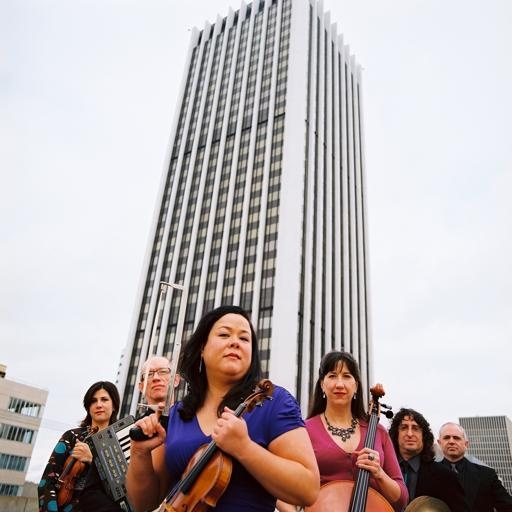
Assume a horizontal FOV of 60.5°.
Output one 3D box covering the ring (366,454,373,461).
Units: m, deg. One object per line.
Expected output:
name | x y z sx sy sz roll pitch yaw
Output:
ring | 1.026 1.801 3.930 0.048 0.041 0.071 -10 -36 35

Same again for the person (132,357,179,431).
person | -1.434 1.947 6.539 0.545 0.929 0.532 -6 -31 -12
